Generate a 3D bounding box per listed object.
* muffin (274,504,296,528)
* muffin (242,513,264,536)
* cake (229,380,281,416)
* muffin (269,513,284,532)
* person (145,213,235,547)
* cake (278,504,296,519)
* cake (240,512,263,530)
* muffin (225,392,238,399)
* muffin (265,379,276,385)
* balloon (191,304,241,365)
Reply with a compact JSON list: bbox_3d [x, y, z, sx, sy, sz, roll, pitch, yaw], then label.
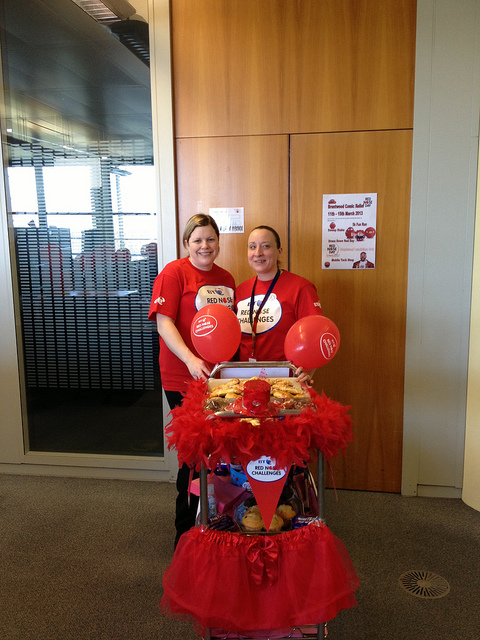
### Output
[{"bbox_3d":[0.146,0.634,1.765,0.051,0.035,0.064,11,32,26],"label":"muffin"},{"bbox_3d":[0.042,0.650,1.726,0.066,0.039,0.051,-2,8,-8],"label":"muffin"},{"bbox_3d":[0.055,0.217,1.648,0.119,0.058,0.119,1,9,-4],"label":"cake"},{"bbox_3d":[0.114,0.643,1.717,0.037,0.028,0.051,-7,12,17],"label":"muffin"},{"bbox_3d":[-0.219,0.341,2.514,0.394,1.646,0.951,-1,8,-1],"label":"person"},{"bbox_3d":[0.154,0.625,1.767,0.043,0.034,0.027,-9,43,54],"label":"cake"},{"bbox_3d":[0.039,0.649,1.731,0.058,0.039,0.055,-5,9,-27],"label":"cake"},{"bbox_3d":[-0.027,0.242,1.728,0.037,0.014,0.032,-1,8,1],"label":"muffin"},{"bbox_3d":[0.101,0.206,1.800,0.034,0.013,0.037,1,-1,0],"label":"muffin"},{"bbox_3d":[-0.097,0.057,2.106,0.186,0.231,0.123,-1,8,0],"label":"balloon"}]
